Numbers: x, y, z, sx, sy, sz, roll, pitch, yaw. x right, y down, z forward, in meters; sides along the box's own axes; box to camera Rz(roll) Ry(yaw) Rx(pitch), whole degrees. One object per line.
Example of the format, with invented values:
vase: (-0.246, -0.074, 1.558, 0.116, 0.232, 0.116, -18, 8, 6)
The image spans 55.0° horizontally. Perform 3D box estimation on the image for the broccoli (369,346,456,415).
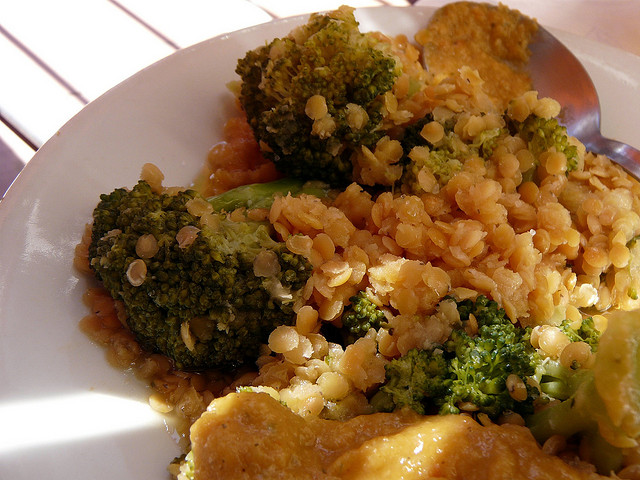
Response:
broccoli: (0.317, 0.480, 2.126, 0.208, 0.171, 0.241, -21, 11, -2)

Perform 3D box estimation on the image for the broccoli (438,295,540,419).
broccoli: (0.568, 0.399, 2.078, 0.315, 0.237, 0.439, -3, 39, 20)

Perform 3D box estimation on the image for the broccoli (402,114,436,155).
broccoli: (0.403, -0.444, 2.476, 0.099, 0.078, 0.121, 0, -9, -14)

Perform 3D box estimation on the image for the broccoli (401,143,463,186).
broccoli: (0.409, -0.288, 2.441, 0.221, 0.137, 0.272, -23, -12, 41)

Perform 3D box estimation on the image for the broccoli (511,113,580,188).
broccoli: (0.916, -0.392, 2.425, 0.149, 0.180, 0.176, 3, 4, 37)

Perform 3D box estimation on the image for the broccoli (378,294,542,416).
broccoli: (0.475, 0.427, 2.145, 0.408, 0.211, 0.438, 5, 59, 7)
